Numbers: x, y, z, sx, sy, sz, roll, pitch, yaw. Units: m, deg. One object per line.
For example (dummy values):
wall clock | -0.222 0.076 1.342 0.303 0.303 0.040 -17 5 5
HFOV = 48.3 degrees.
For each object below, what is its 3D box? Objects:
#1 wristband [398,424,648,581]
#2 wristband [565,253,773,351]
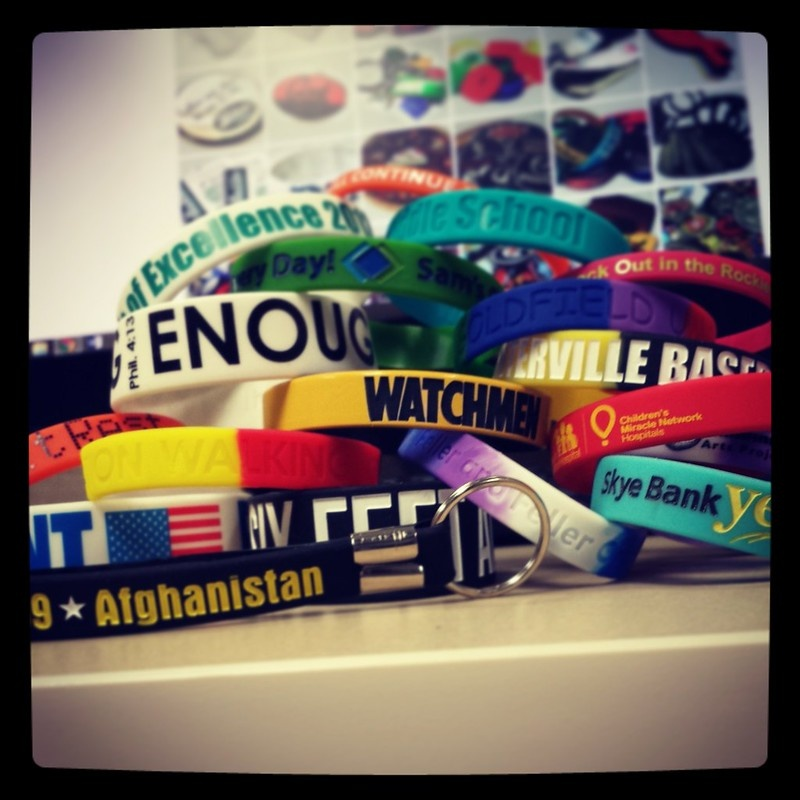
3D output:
wristband | 0.146 0.094 1.041 0.210 0.045 0.189 33 -12 -26
wristband | 0.354 -0.143 1.103 0.180 0.033 0.173 8 -12 12
